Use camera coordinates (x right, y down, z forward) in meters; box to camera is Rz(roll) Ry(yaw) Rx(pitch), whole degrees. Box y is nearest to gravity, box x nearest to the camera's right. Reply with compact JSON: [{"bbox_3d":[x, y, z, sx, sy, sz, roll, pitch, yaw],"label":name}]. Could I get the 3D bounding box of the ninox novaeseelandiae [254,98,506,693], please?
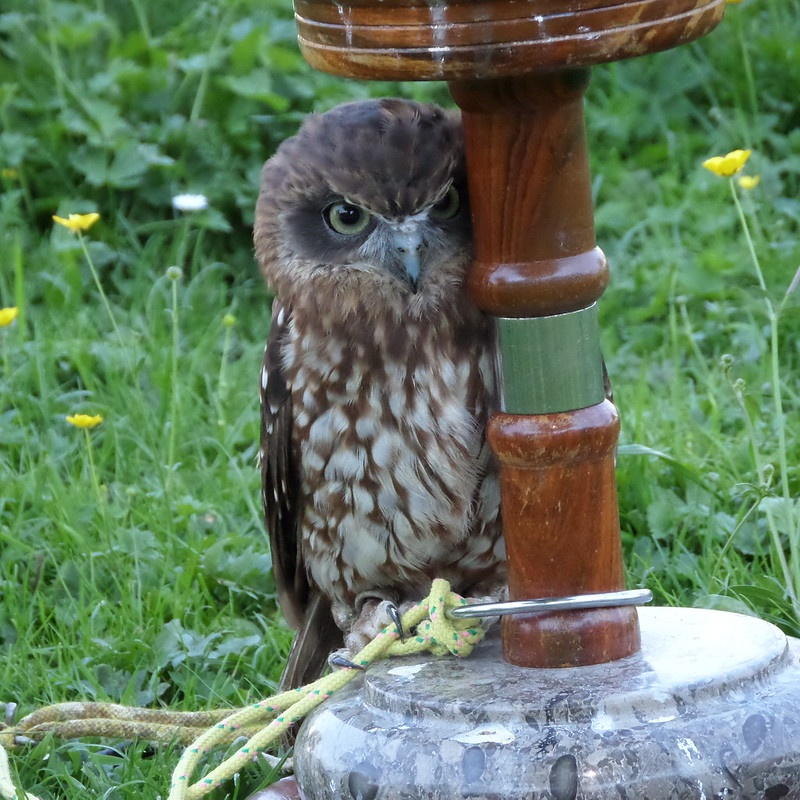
[{"bbox_3d":[-0.045,0.032,3.366,0.525,1.263,0.660,-9,3,-32],"label":"ninox novaeseelandiae"}]
